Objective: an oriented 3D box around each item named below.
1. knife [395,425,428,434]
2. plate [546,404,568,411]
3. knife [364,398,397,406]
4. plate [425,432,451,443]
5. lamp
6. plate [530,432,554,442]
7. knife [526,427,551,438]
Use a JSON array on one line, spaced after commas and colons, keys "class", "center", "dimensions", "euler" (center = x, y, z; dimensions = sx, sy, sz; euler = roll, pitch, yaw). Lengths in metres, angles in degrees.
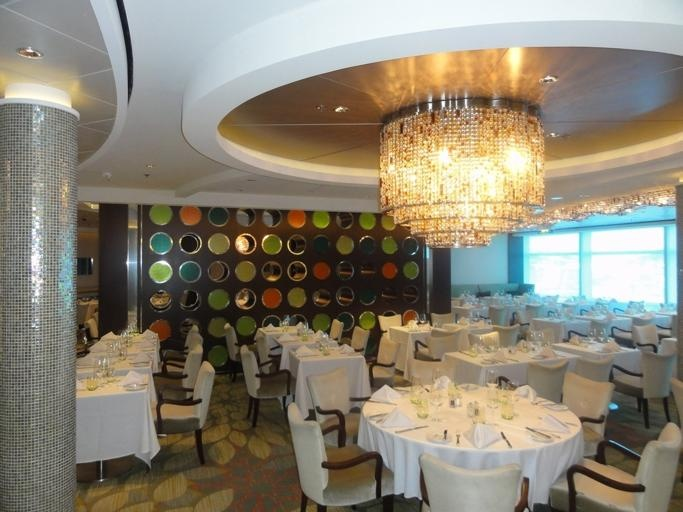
[{"class": "knife", "center": [0.637, 1.604, 4.787], "dimensions": [0.293, 0.015, 0.039], "euler": [-2, 30, -25]}, {"class": "plate", "center": [2.216, 1.556, 5.329], "dimensions": [0.218, 0.022, 0.172], "euler": [-2, 7, -15]}, {"class": "knife", "center": [0.414, 1.529, 5.414], "dimensions": [0.314, 0.025, 0.105], "euler": [2, 7, 16]}, {"class": "plate", "center": [0.871, 1.619, 4.626], "dimensions": [0.195, 0.038, 0.180], "euler": [1, 7, 10]}, {"class": "lamp", "center": [1.454, -0.838, 5.772], "dimensions": [1.493, 1.159, 1.539], "euler": [0, 3, 17]}, {"class": "plate", "center": [1.806, 1.622, 4.645], "dimensions": [0.182, 0.025, 0.154], "euler": [6, 9, 44]}, {"class": "knife", "center": [1.811, 1.616, 4.736], "dimensions": [0.054, 0.010, 0.225], "euler": [-6, 1, -17]}]
